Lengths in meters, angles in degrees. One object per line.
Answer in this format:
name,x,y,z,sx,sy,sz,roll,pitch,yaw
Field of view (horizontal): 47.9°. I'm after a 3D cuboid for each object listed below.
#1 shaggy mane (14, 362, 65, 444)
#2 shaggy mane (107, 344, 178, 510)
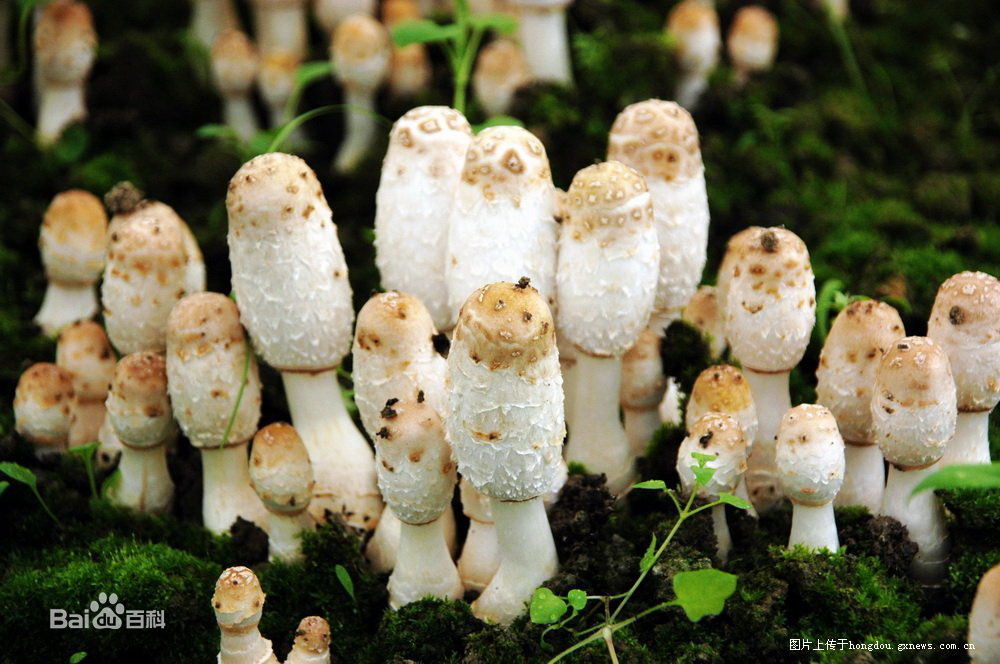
shaggy mane,-2.329,0.381,5.739,0.293,0.417,0.174,-11,30,-17
shaggy mane,-1.736,0.478,5.598,0.300,0.895,0.295,1,6,30
